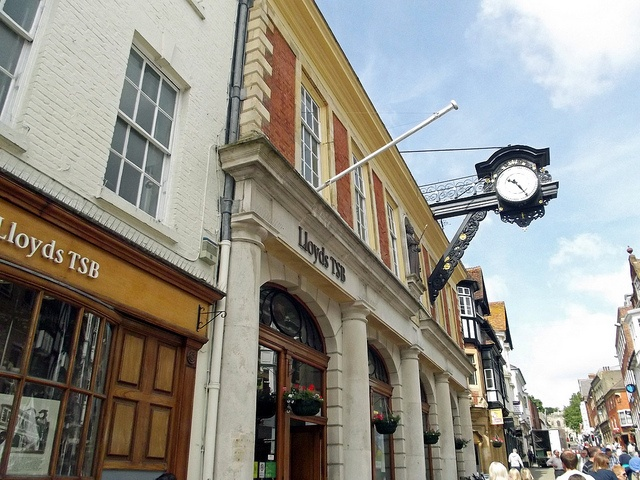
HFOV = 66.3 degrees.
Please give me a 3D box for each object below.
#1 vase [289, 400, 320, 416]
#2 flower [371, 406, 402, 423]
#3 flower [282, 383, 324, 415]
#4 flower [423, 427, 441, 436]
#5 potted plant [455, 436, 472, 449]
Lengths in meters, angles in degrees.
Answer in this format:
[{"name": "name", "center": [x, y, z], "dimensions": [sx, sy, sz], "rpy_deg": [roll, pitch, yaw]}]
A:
[{"name": "vase", "center": [-0.387, 3.468, 10.110], "dimensions": [0.446, 0.194, 0.419], "rpy_deg": [-20, -40, 27]}, {"name": "flower", "center": [1.724, 4.956, 13.782], "dimensions": [0.653, 0.379, 0.704], "rpy_deg": [10, -11, -33]}, {"name": "flower", "center": [-0.321, 3.278, 10.225], "dimensions": [0.510, 0.433, 0.494], "rpy_deg": [-1, -13, 11]}, {"name": "flower", "center": [3.945, 6.856, 17.506], "dimensions": [0.432, 0.185, 0.464], "rpy_deg": [-3, -14, 22]}, {"name": "potted plant", "center": [5.910, 8.535, 20.496], "dimensions": [0.751, 0.407, 0.775], "rpy_deg": [1, -18, 17]}]
